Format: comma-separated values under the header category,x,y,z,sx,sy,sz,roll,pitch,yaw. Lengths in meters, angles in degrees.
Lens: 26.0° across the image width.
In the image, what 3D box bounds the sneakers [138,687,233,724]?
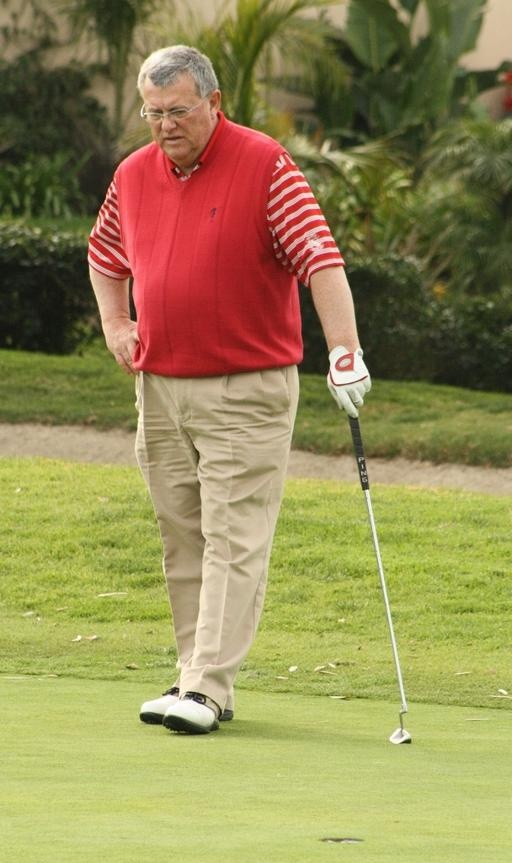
category,x,y,z,sx,sy,sz,roll,pitch,yaw
sneakers,-0.180,0.679,2.700,0.084,0.100,0.229,27,-8,18

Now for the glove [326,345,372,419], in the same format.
category,x,y,z,sx,sy,sz,roll,pitch,yaw
glove,0.206,-0.112,2.513,0.100,0.152,0.052,-20,14,-16

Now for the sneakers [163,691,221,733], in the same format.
category,x,y,z,sx,sy,sz,roll,pitch,yaw
sneakers,-0.135,0.618,2.420,0.065,0.062,0.135,-2,-14,9

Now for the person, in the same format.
category,x,y,z,sx,sy,sz,roll,pitch,yaw
person,-0.102,-0.113,2.693,0.472,1.530,0.718,1,5,-25
